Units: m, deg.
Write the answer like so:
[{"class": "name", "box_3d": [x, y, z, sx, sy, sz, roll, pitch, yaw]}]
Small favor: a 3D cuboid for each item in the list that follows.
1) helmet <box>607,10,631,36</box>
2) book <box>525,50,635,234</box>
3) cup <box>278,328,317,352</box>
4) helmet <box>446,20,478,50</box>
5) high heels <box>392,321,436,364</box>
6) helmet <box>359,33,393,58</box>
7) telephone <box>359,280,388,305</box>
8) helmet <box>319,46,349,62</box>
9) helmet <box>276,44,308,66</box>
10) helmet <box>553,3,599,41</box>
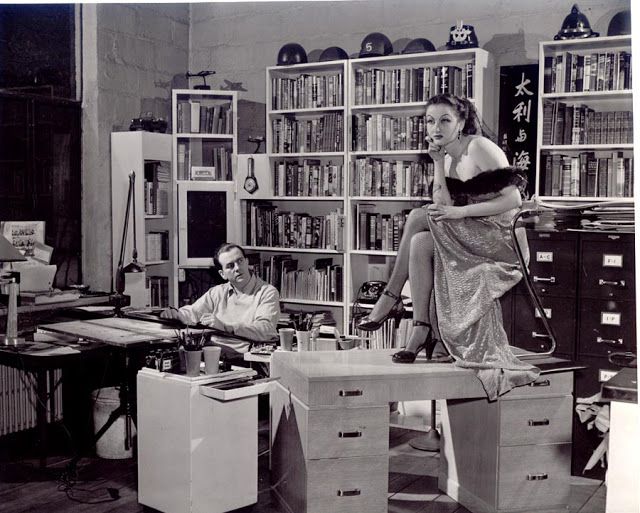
[{"class": "helmet", "box_3d": [2.099, -1.626, 4.934, 0.145, 0.208, 0.136, 0, 0, 8]}, {"class": "book", "box_3d": [1.902, -0.957, 5.084, 0.653, 1.133, 0.419, 0, 0, 25]}, {"class": "cup", "box_3d": [-0.134, 0.492, 4.220, 0.191, 0.139, 0.133, -1, 0, 19]}, {"class": "helmet", "box_3d": [1.078, -1.652, 5.352, 0.213, 0.214, 0.220, 2, 11, 23]}, {"class": "high heels", "box_3d": [0.530, 0.463, 3.836, 0.284, 0.238, 0.138, 1, -1, -25]}, {"class": "helmet", "box_3d": [0.438, -1.675, 5.646, 0.197, 0.150, 0.209, 4, 8, 21]}, {"class": "telephone", "box_3d": [0.401, 0.271, 5.288, 0.169, 0.086, 0.255, 0, 11, 7]}, {"class": "helmet", "box_3d": [0.125, -1.693, 5.925, 0.212, 0.092, 0.220, 4, 11, 21]}, {"class": "helmet", "box_3d": [-0.241, -1.707, 5.986, 0.207, 0.140, 0.202, -6, 10, -43]}, {"class": "helmet", "box_3d": [1.828, -1.664, 5.031, 0.254, 0.219, 0.288, 1, 18, 9]}]
